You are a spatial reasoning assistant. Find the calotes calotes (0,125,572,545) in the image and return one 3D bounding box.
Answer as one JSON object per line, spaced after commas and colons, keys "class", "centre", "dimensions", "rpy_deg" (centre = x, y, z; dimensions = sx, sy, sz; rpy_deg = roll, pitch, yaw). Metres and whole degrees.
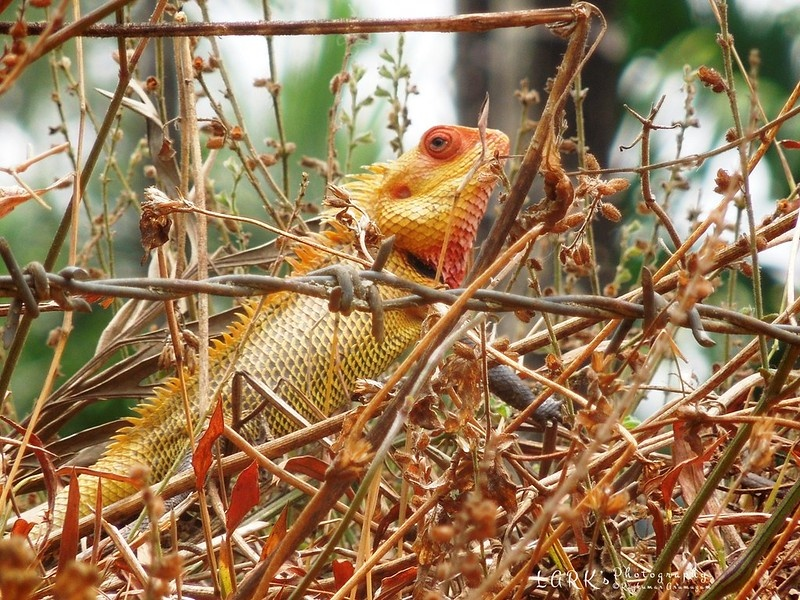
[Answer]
{"class": "calotes calotes", "centre": [-0.258, 0.073, 2.811], "dimensions": [1.178, 0.516, 0.526], "rpy_deg": [-24, -8, 2]}
